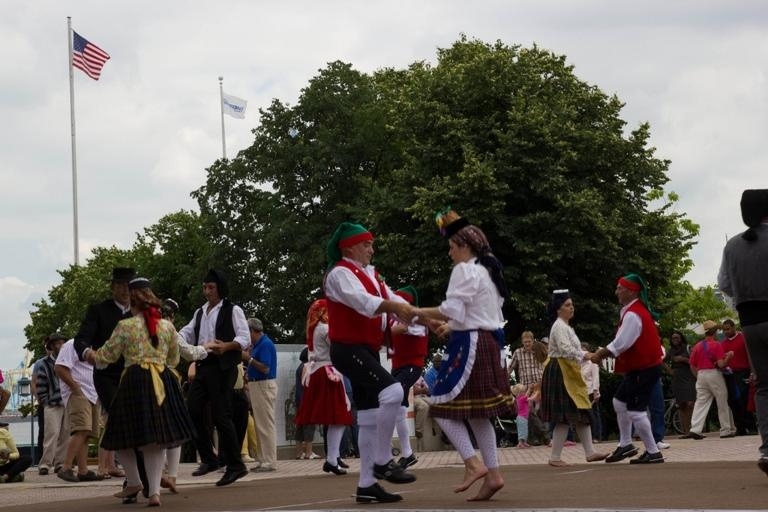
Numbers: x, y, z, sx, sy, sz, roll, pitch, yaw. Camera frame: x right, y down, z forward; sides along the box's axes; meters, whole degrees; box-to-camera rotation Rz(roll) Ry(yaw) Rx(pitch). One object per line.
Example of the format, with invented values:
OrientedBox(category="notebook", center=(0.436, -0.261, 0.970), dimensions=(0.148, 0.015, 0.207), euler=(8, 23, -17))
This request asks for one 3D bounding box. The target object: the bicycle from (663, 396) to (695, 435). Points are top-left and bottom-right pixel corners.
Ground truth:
OrientedBox(category="bicycle", center=(6.578, 3.646, 23.295), dimensions=(0.586, 0.835, 1.424), euler=(-16, -15, 18))

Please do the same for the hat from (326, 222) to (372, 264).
OrientedBox(category="hat", center=(-0.443, -0.165, 13.152), dimensions=(0.579, 0.517, 0.419), euler=(1, -10, -26))

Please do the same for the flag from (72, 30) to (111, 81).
OrientedBox(category="flag", center=(-12.647, -8.514, 43.510), dimensions=(1.914, 1.569, 0.095), euler=(25, 30, 19))

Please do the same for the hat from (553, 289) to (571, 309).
OrientedBox(category="hat", center=(2.891, 0.699, 16.554), dimensions=(0.321, 0.297, 0.239), euler=(7, -11, -11))

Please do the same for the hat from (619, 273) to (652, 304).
OrientedBox(category="hat", center=(4.015, 0.495, 16.371), dimensions=(0.569, 0.492, 0.411), euler=(16, -1, 11))

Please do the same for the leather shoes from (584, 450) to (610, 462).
OrientedBox(category="leather shoes", center=(3.400, 3.178, 16.176), dimensions=(0.420, 0.181, 0.135), euler=(-19, 6, 16))

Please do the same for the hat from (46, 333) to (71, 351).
OrientedBox(category="hat", center=(-5.876, 1.501, 18.213), dimensions=(0.372, 0.141, 0.403), euler=(-7, -14, -12))

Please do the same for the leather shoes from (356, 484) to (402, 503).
OrientedBox(category="leather shoes", center=(-0.097, 2.939, 12.678), dimensions=(0.642, 0.260, 0.211), euler=(-1, -2, 3))

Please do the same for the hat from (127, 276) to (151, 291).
OrientedBox(category="hat", center=(-3.273, 0.358, 13.588), dimensions=(0.280, 0.233, 0.364), euler=(0, -13, -16))

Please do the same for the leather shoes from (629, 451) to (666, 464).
OrientedBox(category="leather shoes", center=(4.069, 3.105, 15.753), dimensions=(0.565, 0.260, 0.203), euler=(0, -14, 6))

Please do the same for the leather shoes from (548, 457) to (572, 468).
OrientedBox(category="leather shoes", center=(2.734, 3.214, 15.877), dimensions=(0.342, 0.143, 0.113), euler=(0, 6, 19))
